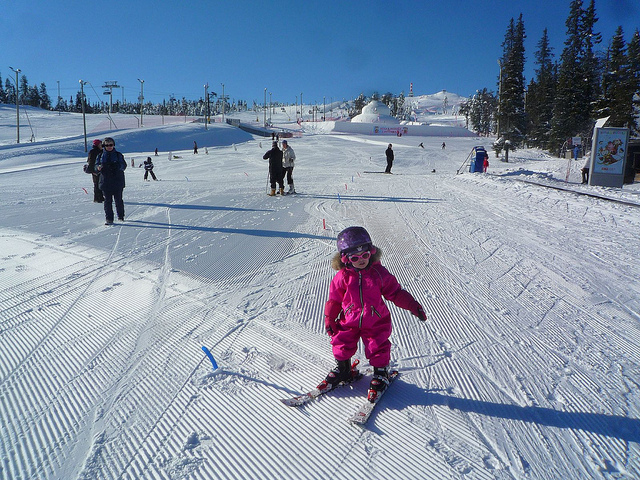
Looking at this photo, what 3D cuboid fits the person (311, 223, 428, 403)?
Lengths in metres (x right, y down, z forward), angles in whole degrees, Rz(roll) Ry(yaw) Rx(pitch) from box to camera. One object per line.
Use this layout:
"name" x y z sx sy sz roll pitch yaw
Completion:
"person" 0.527 0.804 4.226 1.304 1.852 0.834 3 6 19

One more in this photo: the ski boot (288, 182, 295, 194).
"ski boot" -1.066 -1.802 13.844 0.201 0.387 0.251 0 15 -2

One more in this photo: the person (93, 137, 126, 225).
"person" -4.860 -1.335 8.988 0.465 1.844 0.750 4 15 15

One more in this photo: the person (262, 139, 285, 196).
"person" -1.623 -2.444 13.749 0.648 1.787 1.415 -1 15 -6

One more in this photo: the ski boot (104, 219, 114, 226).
"ski boot" -4.779 -0.399 8.833 0.161 0.099 0.198 -9 19 -29

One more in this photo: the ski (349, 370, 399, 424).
"ski" 0.489 1.374 3.631 0.157 0.064 1.171 12 14 21

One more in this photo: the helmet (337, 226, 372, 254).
"helmet" 0.298 0.018 3.551 0.253 0.216 0.208 -18 5 -2

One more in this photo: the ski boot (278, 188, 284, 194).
"ski boot" -1.361 -1.672 13.494 0.161 0.228 0.128 9 36 5

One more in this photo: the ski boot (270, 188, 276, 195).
"ski boot" -1.667 -1.668 13.616 0.196 0.298 0.523 -2 16 -9
